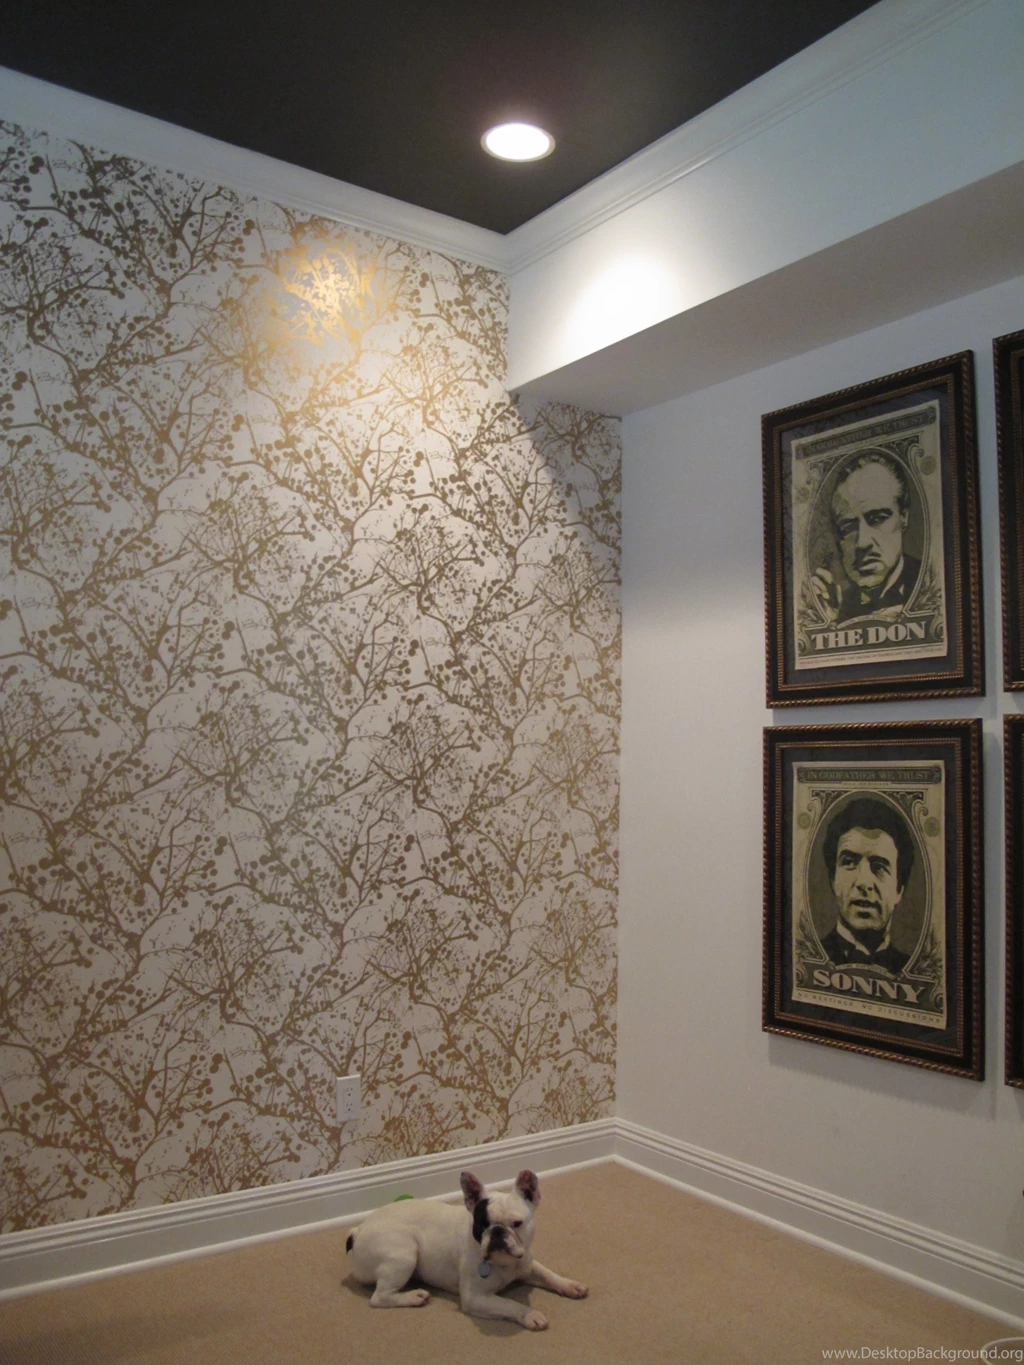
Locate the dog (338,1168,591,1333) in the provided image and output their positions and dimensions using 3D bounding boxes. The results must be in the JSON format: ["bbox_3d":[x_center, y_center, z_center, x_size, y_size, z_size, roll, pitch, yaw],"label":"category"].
[{"bbox_3d":[-0.110,1.170,2.277,0.273,0.283,0.479,17,-24,-42],"label":"dog"}]
